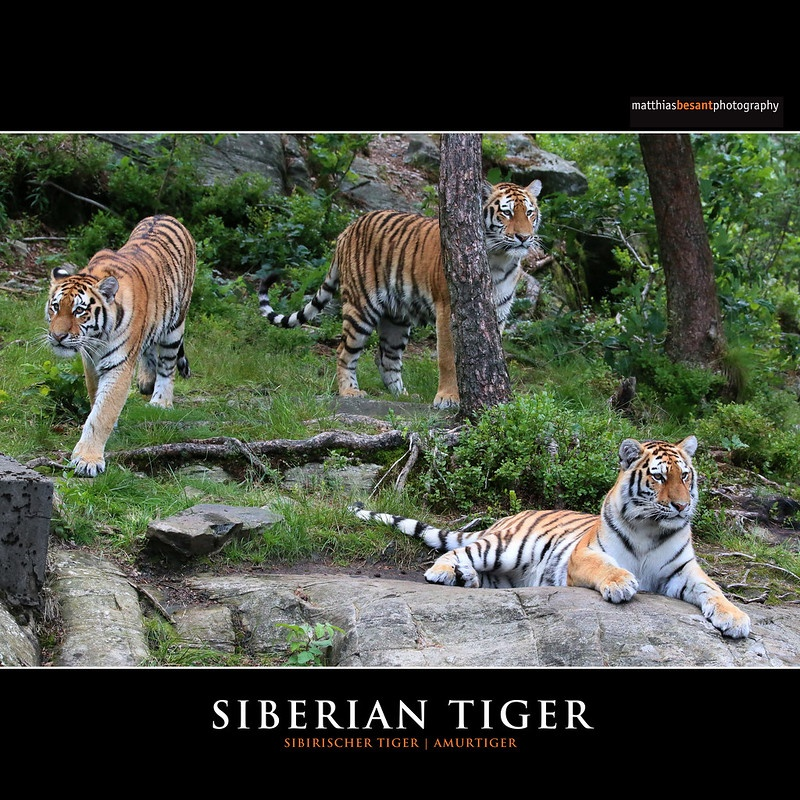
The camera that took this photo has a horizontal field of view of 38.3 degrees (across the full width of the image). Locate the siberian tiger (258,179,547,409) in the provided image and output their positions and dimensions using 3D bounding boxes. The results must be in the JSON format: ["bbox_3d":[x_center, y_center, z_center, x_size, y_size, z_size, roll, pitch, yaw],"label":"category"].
[{"bbox_3d":[-0.077,-0.880,9.715,2.765,1.807,0.741,4,2,34],"label":"siberian tiger"}]

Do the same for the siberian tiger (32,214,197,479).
[{"bbox_3d":[-1.816,-0.460,7.840,0.450,1.332,2.167,5,17,7],"label":"siberian tiger"}]

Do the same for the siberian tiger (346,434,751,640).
[{"bbox_3d":[0.712,0.596,5.926,2.039,1.029,0.854,7,0,35],"label":"siberian tiger"}]
